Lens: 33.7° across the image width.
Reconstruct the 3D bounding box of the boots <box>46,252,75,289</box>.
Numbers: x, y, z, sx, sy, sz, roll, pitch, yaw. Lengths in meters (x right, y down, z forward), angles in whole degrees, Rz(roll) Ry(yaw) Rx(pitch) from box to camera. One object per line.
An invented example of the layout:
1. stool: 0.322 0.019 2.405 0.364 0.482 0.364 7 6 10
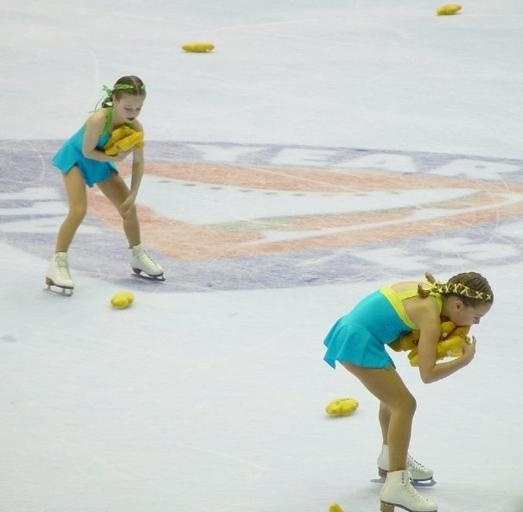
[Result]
1. boots: -1.005 0.074 4.288 0.120 0.193 0.184 1 12 -25
